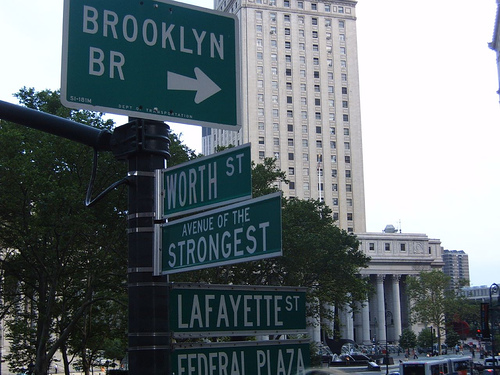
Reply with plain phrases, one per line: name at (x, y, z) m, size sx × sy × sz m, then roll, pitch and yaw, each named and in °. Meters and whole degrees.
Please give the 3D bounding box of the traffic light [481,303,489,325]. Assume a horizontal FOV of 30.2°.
traffic light at (11.373, 6.156, 44.952) m, size 0.403 × 1.019 × 1.244 m, roll 7°, pitch -8°, yaw 14°

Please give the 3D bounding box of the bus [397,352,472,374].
bus at (12.248, 11.739, 60.612) m, size 2.060 × 1.582 × 5.953 m, roll 2°, pitch -10°, yaw 39°

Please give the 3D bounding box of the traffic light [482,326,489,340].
traffic light at (11.532, 7.102, 45.356) m, size 0.364 × 0.568 × 0.571 m, roll 7°, pitch -8°, yaw 14°
